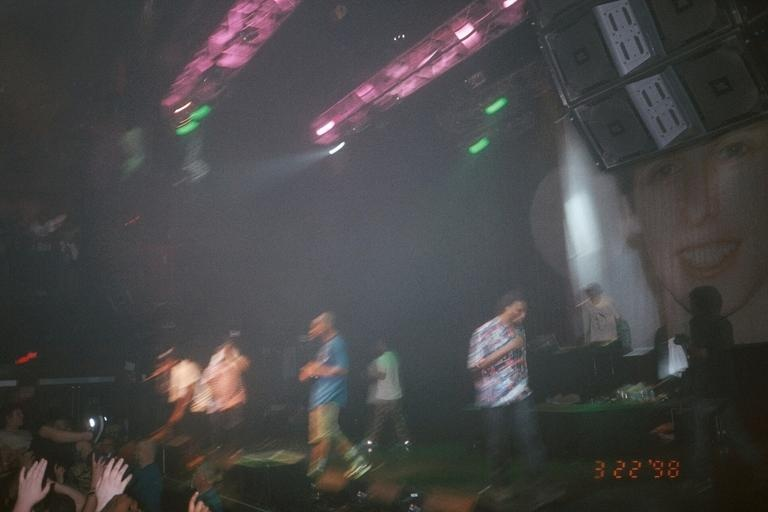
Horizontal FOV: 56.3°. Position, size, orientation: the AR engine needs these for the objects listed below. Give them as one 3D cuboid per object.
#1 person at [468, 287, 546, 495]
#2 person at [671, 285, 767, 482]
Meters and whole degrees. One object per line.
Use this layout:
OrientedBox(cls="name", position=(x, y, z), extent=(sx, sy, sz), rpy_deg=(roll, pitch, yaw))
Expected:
OrientedBox(cls="person", position=(1.494, 1.701, 8.884), extent=(0.801, 2.391, 0.661), rpy_deg=(-7, -21, 11))
OrientedBox(cls="person", position=(4.024, 1.495, 8.900), extent=(0.867, 2.434, 0.577), rpy_deg=(-8, -21, 12))
